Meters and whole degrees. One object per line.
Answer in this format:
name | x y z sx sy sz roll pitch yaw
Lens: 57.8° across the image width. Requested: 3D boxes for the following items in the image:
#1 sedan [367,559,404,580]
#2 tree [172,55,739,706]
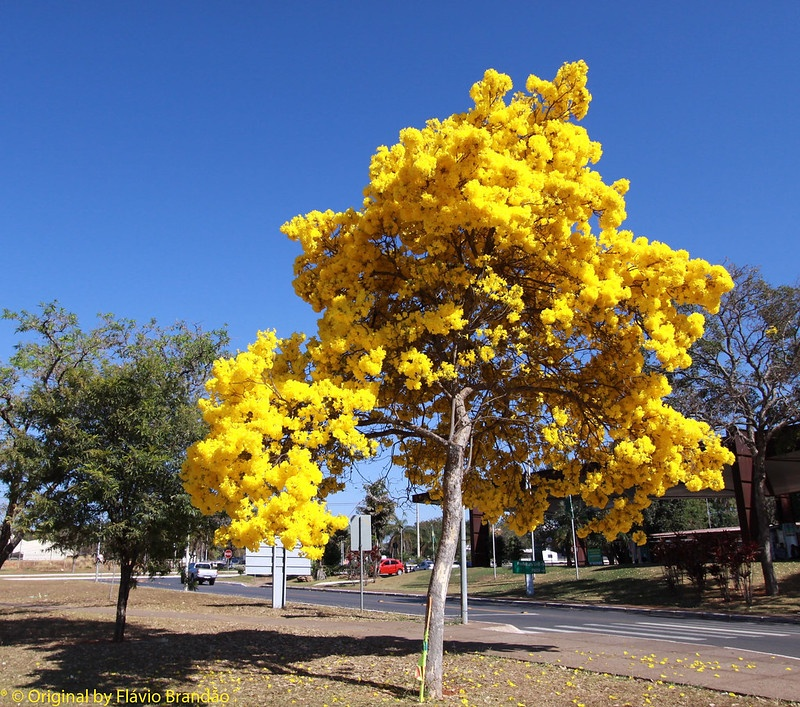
sedan | -1.012 17.631 59.849 2.704 1.230 1.483 5 -13 -13
tree | 1.016 0.363 13.578 9.087 10.808 5.710 6 -18 -17
